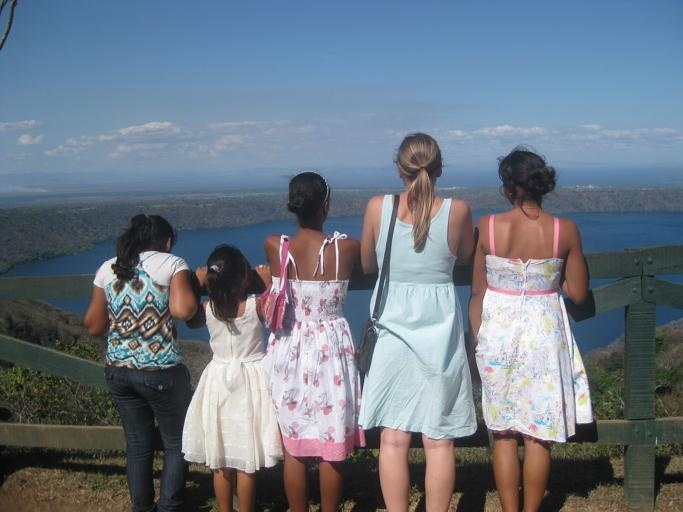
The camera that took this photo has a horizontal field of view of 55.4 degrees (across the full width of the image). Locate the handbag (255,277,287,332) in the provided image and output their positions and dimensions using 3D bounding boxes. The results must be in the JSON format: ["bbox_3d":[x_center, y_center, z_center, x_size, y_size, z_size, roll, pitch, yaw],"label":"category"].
[{"bbox_3d":[-0.566,0.396,5.235,0.202,0.491,0.330,-6,14,-33],"label":"handbag"}]
